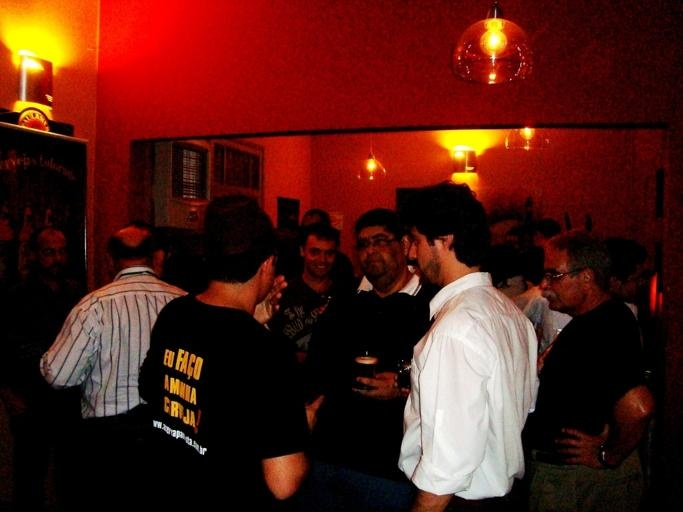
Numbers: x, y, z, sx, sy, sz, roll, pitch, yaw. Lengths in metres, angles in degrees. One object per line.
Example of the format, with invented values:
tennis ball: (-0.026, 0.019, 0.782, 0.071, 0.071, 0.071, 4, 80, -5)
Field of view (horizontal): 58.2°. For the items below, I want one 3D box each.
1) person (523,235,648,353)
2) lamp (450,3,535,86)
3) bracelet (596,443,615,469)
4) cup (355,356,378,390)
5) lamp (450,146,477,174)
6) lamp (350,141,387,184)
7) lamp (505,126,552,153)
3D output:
person: (1.507, 0.220, 3.975, 0.595, 0.737, 0.409, -10, 4, 1)
lamp: (0.898, -1.183, 3.723, 0.470, 0.563, 0.498, 3, -16, 9)
bracelet: (1.283, 0.969, 2.988, 0.083, 0.113, 0.031, -13, 10, -37)
cup: (0.114, 0.566, 2.976, 0.123, 0.139, 0.126, 1, 2, 0)
lamp: (0.836, -0.657, 4.177, 0.172, 0.186, 0.042, 2, 2, 16)
lamp: (0.189, -0.681, 4.371, 0.204, 0.242, 0.221, -1, 0, 3)
lamp: (1.228, -0.774, 4.093, 0.189, 0.195, 0.076, 10, -25, 8)
